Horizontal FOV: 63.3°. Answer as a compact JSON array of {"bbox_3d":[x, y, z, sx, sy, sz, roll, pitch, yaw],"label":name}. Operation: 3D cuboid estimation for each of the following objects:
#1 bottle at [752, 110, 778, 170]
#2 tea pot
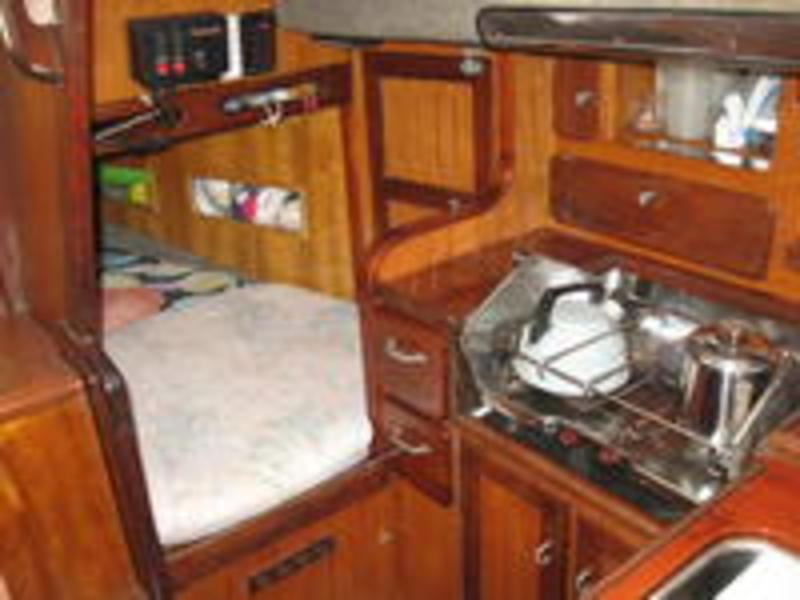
[{"bbox_3d":[0.756,-0.334,1.353,0.049,0.117,0.094,12,29,23],"label":"bottle"},{"bbox_3d":[0.376,0.081,1.381,0.218,0.168,0.277,25,44,37],"label":"tea pot"}]
